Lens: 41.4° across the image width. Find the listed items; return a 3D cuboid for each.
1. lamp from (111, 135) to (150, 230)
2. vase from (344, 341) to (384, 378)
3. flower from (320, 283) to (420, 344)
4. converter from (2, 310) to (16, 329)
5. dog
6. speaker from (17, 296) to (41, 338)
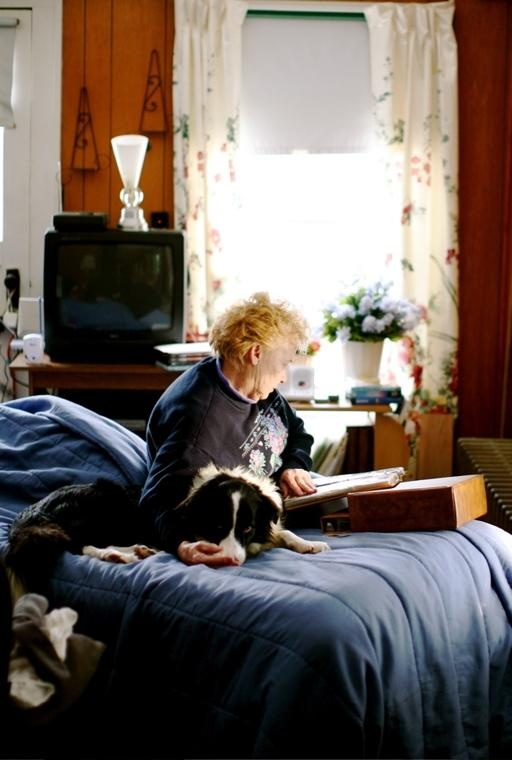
[{"bbox_3d":[-0.540,-0.846,2.918,0.151,0.433,0.370,1,6,-10],"label":"lamp"},{"bbox_3d":[0.453,-0.078,2.850,0.134,0.127,0.156,2,-4,-15],"label":"vase"},{"bbox_3d":[0.487,-0.282,2.871,0.360,0.234,0.327,2,-2,-9],"label":"flower"},{"bbox_3d":[-1.107,-0.285,3.050,0.072,0.077,0.020,6,-21,8],"label":"converter"},{"bbox_3d":[-0.195,0.224,1.234,0.398,0.188,0.265,2,-6,9],"label":"dog"},{"bbox_3d":[-0.978,-0.272,2.944,0.096,0.177,0.200,-1,7,-32],"label":"speaker"}]
